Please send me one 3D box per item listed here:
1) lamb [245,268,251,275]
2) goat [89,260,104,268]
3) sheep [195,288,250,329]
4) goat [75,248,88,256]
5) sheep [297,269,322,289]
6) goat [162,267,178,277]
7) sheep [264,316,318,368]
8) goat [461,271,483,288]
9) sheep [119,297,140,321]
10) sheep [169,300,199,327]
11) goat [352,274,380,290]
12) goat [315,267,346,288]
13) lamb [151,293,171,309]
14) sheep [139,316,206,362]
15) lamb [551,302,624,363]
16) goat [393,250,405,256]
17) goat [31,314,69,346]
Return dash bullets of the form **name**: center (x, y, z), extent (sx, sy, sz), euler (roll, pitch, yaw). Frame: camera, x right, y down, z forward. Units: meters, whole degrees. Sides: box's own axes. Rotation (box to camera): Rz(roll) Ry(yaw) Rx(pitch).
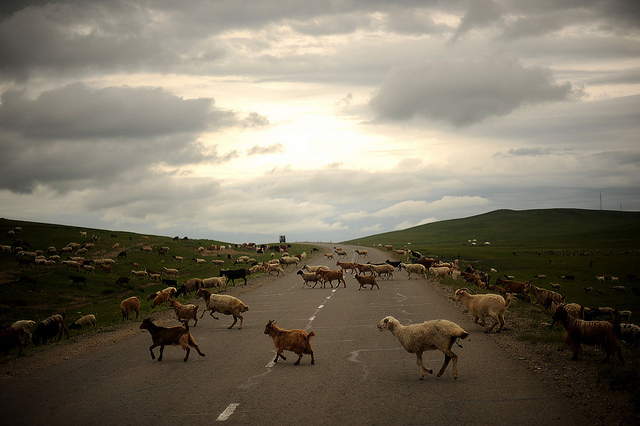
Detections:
- **lamb**: center (-9.314, 7.490, 62.269), extent (0.816, 0.633, 1.064), euler (-2, -22, 6)
- **goat**: center (-29.450, 6.401, 63.333), extent (1.721, 0.852, 1.474), euler (-3, 0, -23)
- **sheep**: center (-5.536, 5.315, 27.229), extent (1.651, 2.205, 3.643), euler (-4, 0, -30)
- **goat**: center (-35.396, 5.556, 71.149), extent (0.896, 0.920, 2.277), euler (-4, 0, 28)
- **sheep**: center (-0.819, 6.018, 44.928), extent (1.947, 1.628, 2.801), euler (-4, 0, -3)
- **goat**: center (-19.826, 7.839, 64.282), extent (1.370, 1.197, 1.643), euler (-4, 0, -24)
- **sheep**: center (-1.304, 5.466, 20.411), extent (2.583, 1.726, 0.920), euler (-2, -9, 29)
- **goat**: center (13.310, 5.503, 42.212), extent (2.053, 1.083, 0.548), euler (18, 11, 37)
- **sheep**: center (-13.679, 6.755, 34.439), extent (0.859, 1.686, 1.436), euler (-4, 0, 13)
- **sheep**: center (-7.532, 5.459, 26.533), extent (2.211, 1.277, 0.699), euler (8, 0, 32)
- **goat**: center (4.076, 5.778, 41.164), extent (1.682, 1.226, 2.180), euler (-4, 0, 10)
- **goat**: center (1.019, 5.913, 44.425), extent (2.361, 1.822, 4.038), euler (-4, 0, -1)
- **lamb**: center (-12.901, 6.992, 38.980), extent (1.368, 1.224, 1.168), euler (-4, 0, -15)
- **sheep**: center (-6.732, 5.579, 21.679), extent (2.366, 1.964, 2.885), euler (-4, 0, -21)
- **lamb**: center (10.778, 4.820, 19.733), extent (1.993, 2.135, 2.807), euler (0, 0, -7)
- **goat**: center (15.571, 7.289, 92.787), extent (2.428, 0.643, 1.154), euler (6, -36, 9)
- **goat**: center (-16.531, 7.332, 29.785), extent (2.579, 1.366, 0.989), euler (-23, -20, 6)
